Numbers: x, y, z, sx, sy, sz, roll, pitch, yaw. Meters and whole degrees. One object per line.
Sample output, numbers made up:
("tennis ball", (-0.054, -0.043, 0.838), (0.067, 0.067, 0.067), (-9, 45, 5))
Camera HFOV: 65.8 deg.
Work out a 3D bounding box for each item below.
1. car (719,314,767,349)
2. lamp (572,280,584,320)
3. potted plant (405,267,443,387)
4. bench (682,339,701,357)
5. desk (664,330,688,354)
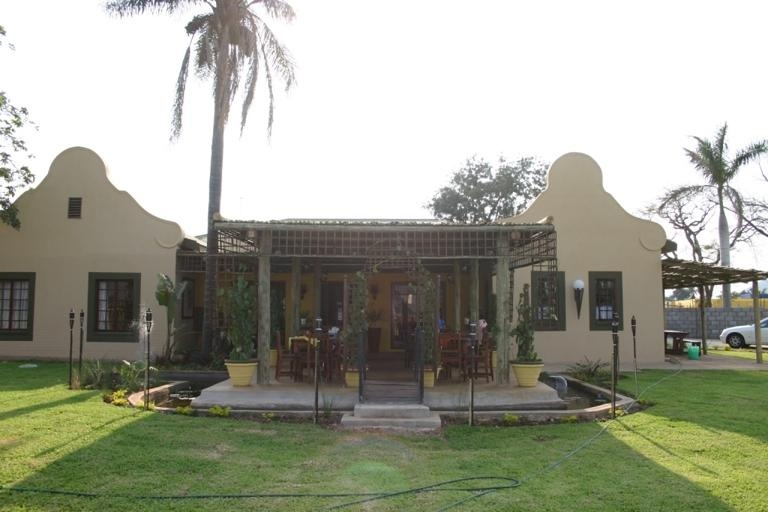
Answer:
("car", (15.544, 3.394, 25.572), (2.170, 0.841, 0.959), (0, -7, 23))
("lamp", (6.404, 1.397, 19.687), (0.397, 1.231, 0.301), (2, 9, 8))
("potted plant", (1.048, 1.642, 14.528), (0.668, 2.503, 1.747), (1, 0, 8))
("bench", (11.315, 3.404, 22.012), (0.483, 0.514, 0.502), (1, 5, 18))
("desk", (11.241, 3.333, 23.037), (0.564, 0.560, 1.096), (-2, -6, 15))
